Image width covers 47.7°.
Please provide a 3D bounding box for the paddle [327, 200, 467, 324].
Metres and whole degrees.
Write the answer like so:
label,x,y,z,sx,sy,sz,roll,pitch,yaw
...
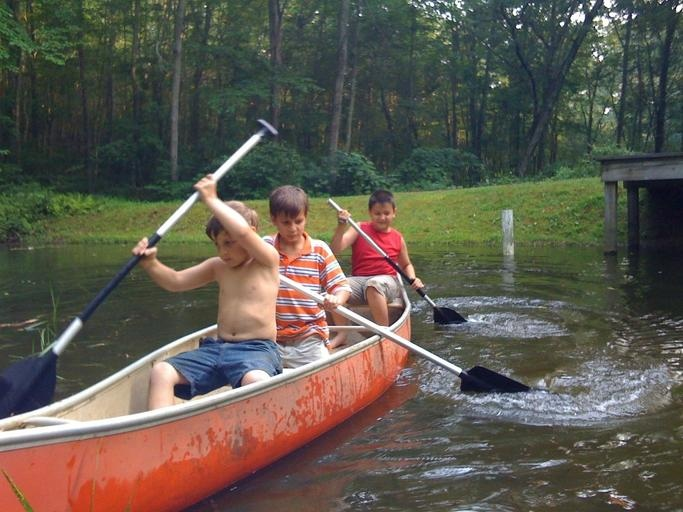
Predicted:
label,x,y,z,sx,sy,sz,roll,pitch,yaw
paddle,0.875,0.077,10.698,0.471,2.836,0.174,-42,3,39
